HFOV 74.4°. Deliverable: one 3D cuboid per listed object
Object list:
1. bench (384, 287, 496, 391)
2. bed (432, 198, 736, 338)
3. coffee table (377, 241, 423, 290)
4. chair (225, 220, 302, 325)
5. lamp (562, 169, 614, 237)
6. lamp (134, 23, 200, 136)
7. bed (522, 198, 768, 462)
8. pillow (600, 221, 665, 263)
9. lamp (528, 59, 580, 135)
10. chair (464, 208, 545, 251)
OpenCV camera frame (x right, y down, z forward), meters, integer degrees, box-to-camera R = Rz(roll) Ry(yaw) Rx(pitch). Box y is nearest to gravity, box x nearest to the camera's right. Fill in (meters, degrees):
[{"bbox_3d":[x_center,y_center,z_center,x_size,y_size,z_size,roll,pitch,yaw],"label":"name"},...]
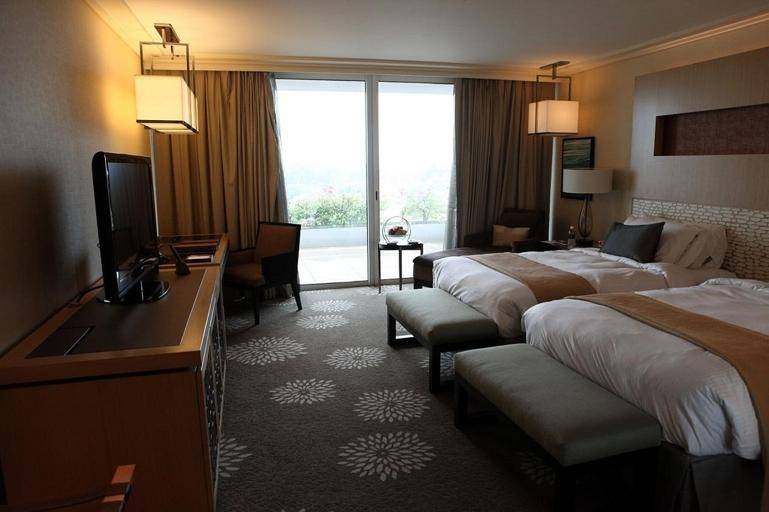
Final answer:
[{"bbox_3d":[0.510,0.684,4.700,0.686,0.564,1.226,-6,12,-17],"label":"bench"},{"bbox_3d":[1.650,0.162,4.794,1.958,0.818,1.351,-5,10,-17],"label":"bed"},{"bbox_3d":[0.198,0.146,6.607,0.554,0.627,0.536,-4,-8,22],"label":"coffee table"},{"bbox_3d":[-1.485,0.133,5.915,0.765,0.961,0.779,8,14,28],"label":"chair"},{"bbox_3d":[2.469,-0.612,6.205,0.546,0.818,0.540,6,3,10],"label":"lamp"},{"bbox_3d":[-2.110,-1.738,4.863,0.398,0.928,1.018,-2,14,-5],"label":"lamp"},{"bbox_3d":[1.923,0.515,3.650,1.736,1.066,1.733,-5,12,-5],"label":"bed"},{"bbox_3d":[2.498,-0.155,5.106,0.170,0.395,0.566,27,-5,-26],"label":"pillow"},{"bbox_3d":[2.191,-1.966,6.501,0.663,0.803,0.689,2,7,15],"label":"lamp"},{"bbox_3d":[1.547,-0.377,6.740,0.619,0.854,0.854,7,3,44],"label":"chair"}]
